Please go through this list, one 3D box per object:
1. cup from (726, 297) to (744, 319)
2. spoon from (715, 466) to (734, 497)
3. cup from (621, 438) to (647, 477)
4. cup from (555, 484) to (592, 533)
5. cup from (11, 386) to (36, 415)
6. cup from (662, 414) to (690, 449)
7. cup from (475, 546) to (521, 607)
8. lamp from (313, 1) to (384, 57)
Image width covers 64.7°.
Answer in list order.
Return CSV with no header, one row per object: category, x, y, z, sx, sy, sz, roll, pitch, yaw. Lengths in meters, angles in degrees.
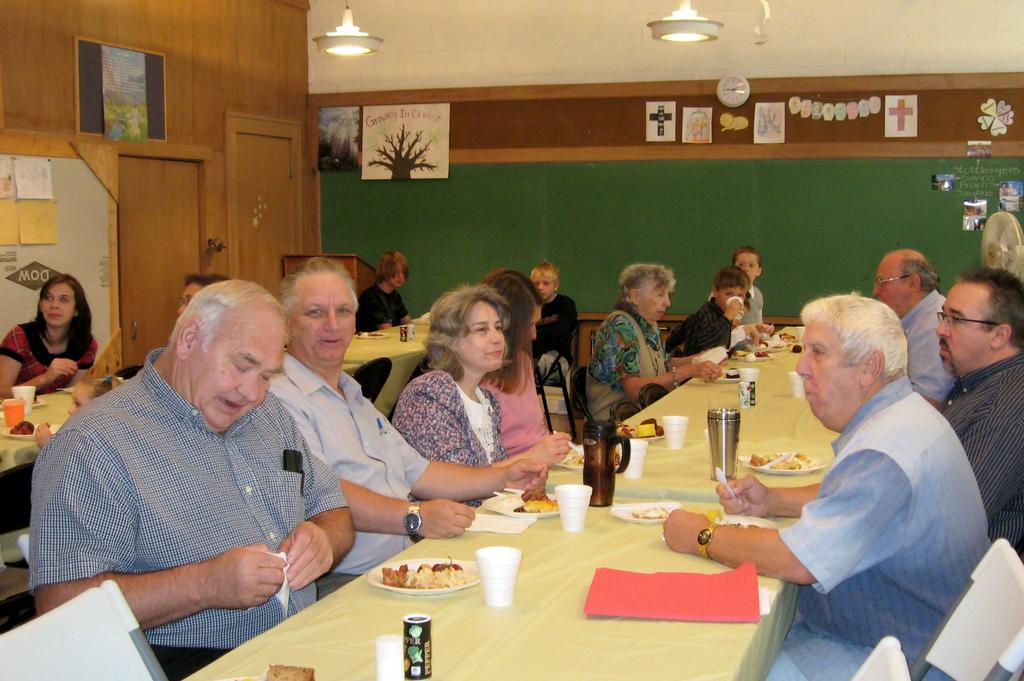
cup,1.784,-0.263,6.368,0.147,0.177,0.144,3,-12,1
spoon,0.688,0.478,2.586,0.064,0.035,0.213,2,-37,14
cup,0.442,0.416,2.899,0.118,0.124,0.116,-1,4,0
cup,0.181,0.476,2.338,0.126,0.132,0.126,0,1,0
cup,-2.318,0.285,3.833,0.109,0.116,0.106,3,10,0
cup,0.672,0.374,3.305,0.123,0.134,0.123,-2,0,0
cup,-0.020,0.534,1.886,0.130,0.140,0.129,-1,-1,0
lamp,-1.352,-2.643,6.800,0.482,0.419,0.517,-1,5,9
